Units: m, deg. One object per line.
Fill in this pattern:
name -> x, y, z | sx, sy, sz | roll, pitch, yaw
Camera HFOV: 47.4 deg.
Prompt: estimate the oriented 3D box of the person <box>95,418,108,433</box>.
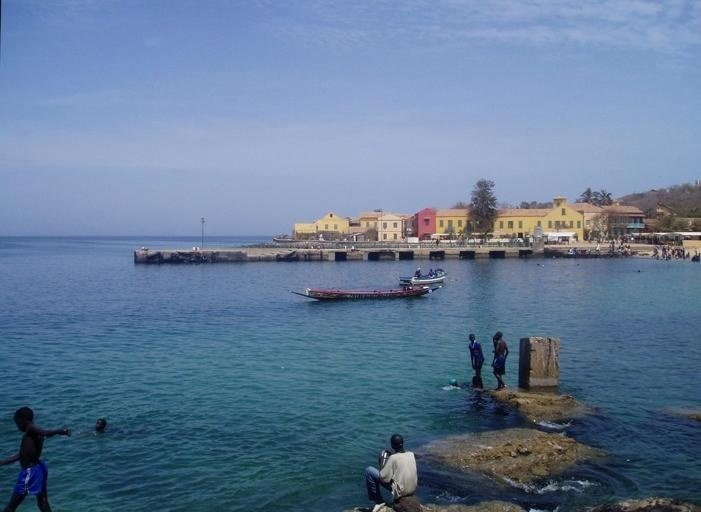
person -> -12.392, 8.398, 39.843 | 0.612, 0.637, 0.859 | -3, 8, -17
